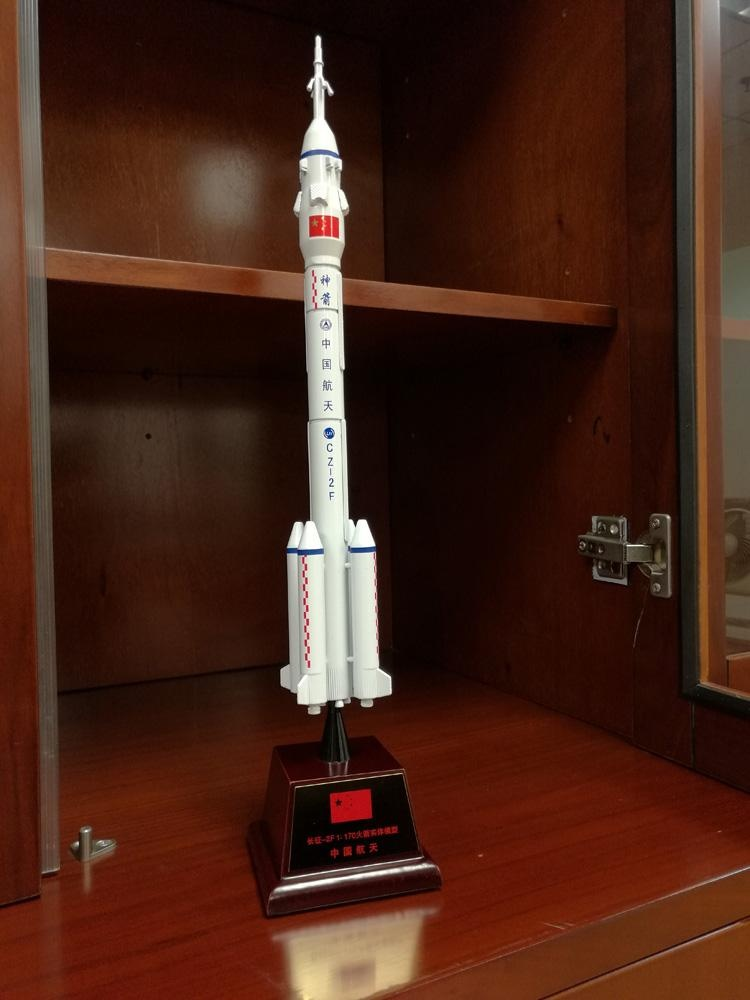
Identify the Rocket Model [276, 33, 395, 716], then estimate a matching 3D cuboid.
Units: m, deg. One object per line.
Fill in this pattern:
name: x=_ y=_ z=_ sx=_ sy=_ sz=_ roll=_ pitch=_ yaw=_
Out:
Rocket Model: x=-0.064 y=-0.122 z=1.059 sx=0.127 sy=0.880 sz=0.149 roll=-2 pitch=-1 yaw=34
